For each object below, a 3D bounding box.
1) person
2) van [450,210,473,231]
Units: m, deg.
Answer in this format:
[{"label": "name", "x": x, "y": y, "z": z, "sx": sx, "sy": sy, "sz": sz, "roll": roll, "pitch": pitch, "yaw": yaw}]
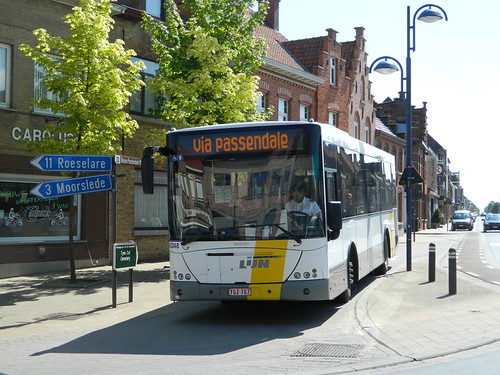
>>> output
[{"label": "person", "x": 0.954, "y": 0.418, "z": 9.807, "sx": 0.731, "sy": 1.321, "sz": 0.381, "roll": -2, "pitch": -11, "yaw": -1}, {"label": "van", "x": 21.172, "y": 3.308, "z": 53.755, "sx": 1.584, "sy": 1.586, "sz": 3.122, "roll": -4, "pitch": -14, "yaw": 23}]
